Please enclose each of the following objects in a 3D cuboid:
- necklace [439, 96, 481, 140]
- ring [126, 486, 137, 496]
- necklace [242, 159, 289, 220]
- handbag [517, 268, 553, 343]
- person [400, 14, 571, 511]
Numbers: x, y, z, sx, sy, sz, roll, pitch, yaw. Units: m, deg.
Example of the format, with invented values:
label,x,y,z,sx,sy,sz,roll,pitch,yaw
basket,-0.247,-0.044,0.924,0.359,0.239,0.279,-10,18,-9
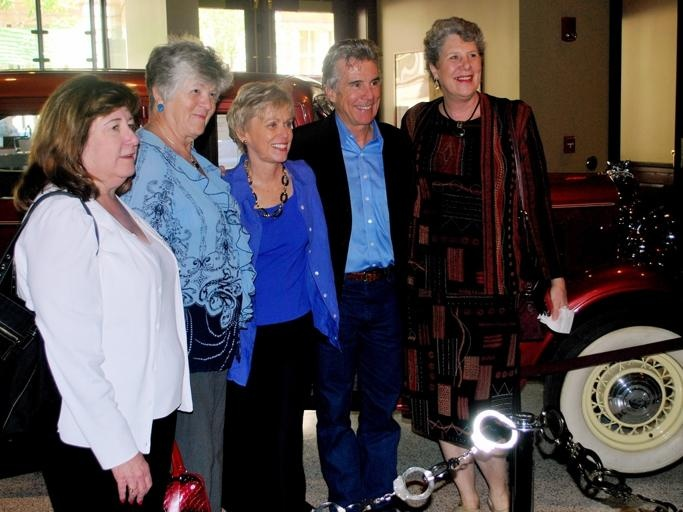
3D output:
label,x,y,z,sx,sy,sz,roll,pitch,yaw
necklace,0.551,-0.659,2.693,0.156,0.225,0.012,1,2,-15
ring,-0.655,0.732,1.817,0.026,0.032,0.031,2,-8,-3
necklace,-0.314,-0.299,2.582,0.170,0.289,0.042,1,42,-9
handbag,0.951,0.243,2.886,0.073,0.326,0.230,-4,7,-35
person,0.661,-0.090,2.775,0.691,2.010,0.347,1,11,5
